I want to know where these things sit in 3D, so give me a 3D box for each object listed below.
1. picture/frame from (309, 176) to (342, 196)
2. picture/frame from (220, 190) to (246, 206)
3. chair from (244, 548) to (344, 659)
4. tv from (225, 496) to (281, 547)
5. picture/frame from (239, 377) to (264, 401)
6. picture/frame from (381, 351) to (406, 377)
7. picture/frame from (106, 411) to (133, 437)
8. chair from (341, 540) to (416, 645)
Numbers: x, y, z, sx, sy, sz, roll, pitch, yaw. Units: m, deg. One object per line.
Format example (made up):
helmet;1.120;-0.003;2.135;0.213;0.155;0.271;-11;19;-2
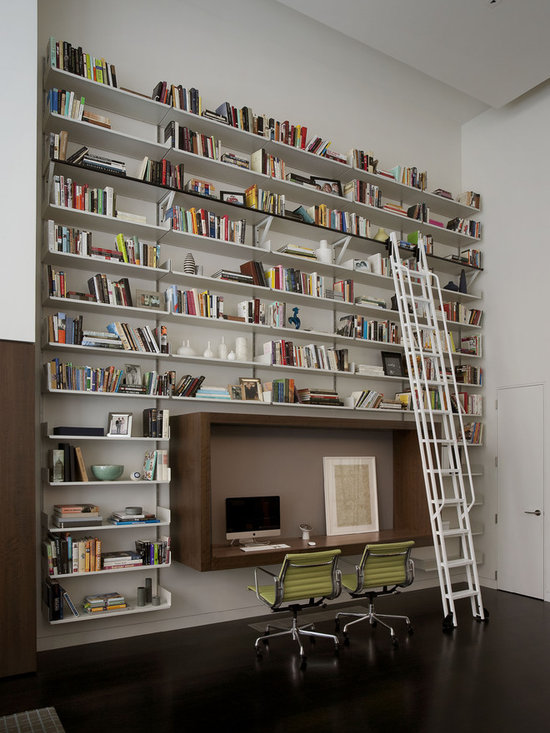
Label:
picture/frame;0.488;-1.782;6.131;0.349;0.193;0.016;5;-31;-40
picture/frame;-0.379;-1.480;5.471;0.247;0.159;0.013;0;-6;-32
chair;0.154;1.697;4.544;0.654;0.717;0.665;-6;-10;35
tv;-0.210;1.316;5.253;0.432;0.293;0.120;3;-9;-34
picture/frame;-0.215;0.208;5.395;0.187;0.167;0.027;11;-25;-37
picture/frame;1.233;-0.014;6.492;0.257;0.249;0.019;-18;-10;-46
picture/frame;-1.195;0.445;4.710;0.196;0.228;0.025;3;-11;-24
chair;0.760;1.740;4.934;0.589;0.734;0.578;-5;-8;44
